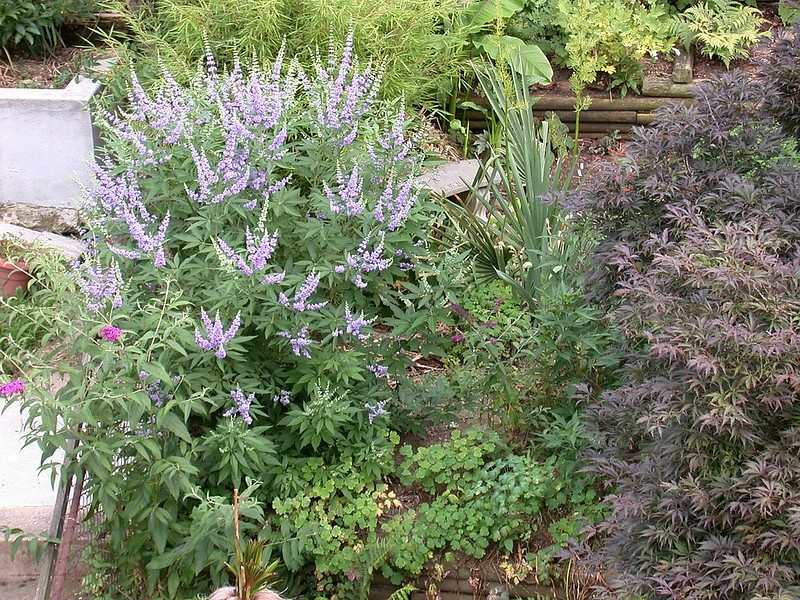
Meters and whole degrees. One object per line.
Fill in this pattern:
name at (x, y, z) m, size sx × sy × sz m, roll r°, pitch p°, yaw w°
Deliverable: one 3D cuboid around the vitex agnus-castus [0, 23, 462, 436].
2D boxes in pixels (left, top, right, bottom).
vitex agnus-castus at (-0.850, -0.267, 3.491) m, size 2.169 × 2.567 × 1.058 m, roll -12°, pitch 0°, yaw -24°
